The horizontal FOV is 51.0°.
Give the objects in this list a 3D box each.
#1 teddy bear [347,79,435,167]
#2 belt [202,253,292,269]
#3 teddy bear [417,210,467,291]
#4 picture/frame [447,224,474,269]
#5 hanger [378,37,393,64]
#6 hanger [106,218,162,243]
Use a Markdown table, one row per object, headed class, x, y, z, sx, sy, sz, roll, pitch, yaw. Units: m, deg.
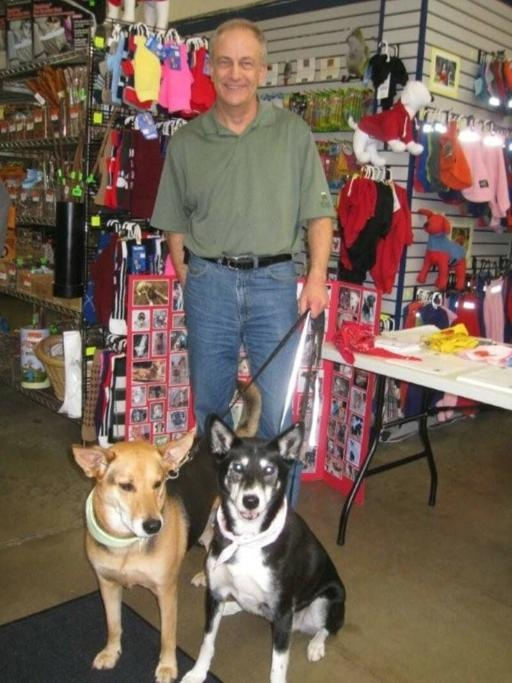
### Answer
| class | x | y | z | sx | sy | sz | roll | pitch | yaw |
| --- | --- | --- | --- | --- | --- | --- | --- | --- | --- |
| teddy bear | 0.937 | -1.493 | 3.744 | 0.676 | 0.694 | 0.389 | 8 | 15 | 32 |
| belt | -0.032 | -0.296 | 1.989 | 0.325 | 0.070 | 0.086 | 3 | 9 | -4 |
| teddy bear | 1.465 | -0.703 | 4.223 | 0.251 | 0.607 | 0.558 | 10 | 11 | 39 |
| picture/frame | 1.863 | -0.910 | 4.870 | 0.023 | 0.284 | 0.279 | -4 | 11 | -22 |
| hanger | 0.913 | -2.020 | 3.770 | 0.108 | 0.152 | 0.085 | 5 | 9 | 11 |
| hanger | -0.779 | -0.695 | 3.386 | 0.347 | 0.130 | 0.262 | 29 | 27 | 37 |
